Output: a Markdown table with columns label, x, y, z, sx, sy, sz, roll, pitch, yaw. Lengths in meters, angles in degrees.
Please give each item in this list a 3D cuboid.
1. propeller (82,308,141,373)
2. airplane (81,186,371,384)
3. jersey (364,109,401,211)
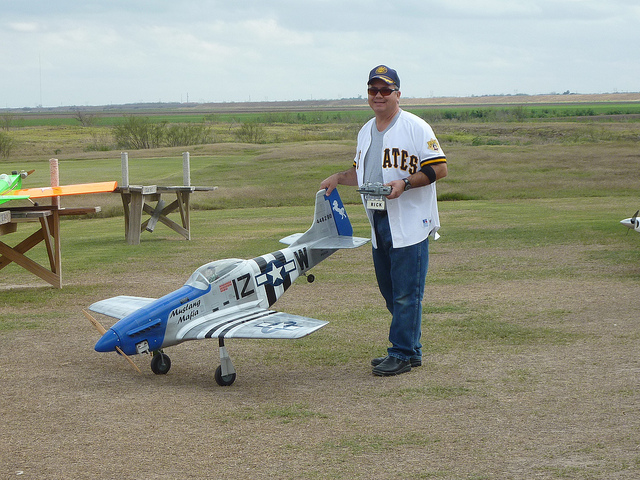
| label | x | y | z | sx | sy | sz | roll | pitch | yaw |
| --- | --- | --- | --- | --- | --- | --- | --- | --- | --- |
| propeller | -3.267 | 1.552 | 17.744 | 0.713 | 0.822 | 1.296 | -3 | 8 | -13 |
| airplane | -1.214 | 0.852 | 18.143 | 3.509 | 1.432 | 4.202 | 7 | 17 | 43 |
| jersey | 1.005 | -1.263 | 17.514 | 0.586 | 1.426 | 0.480 | -1 | 12 | 8 |
